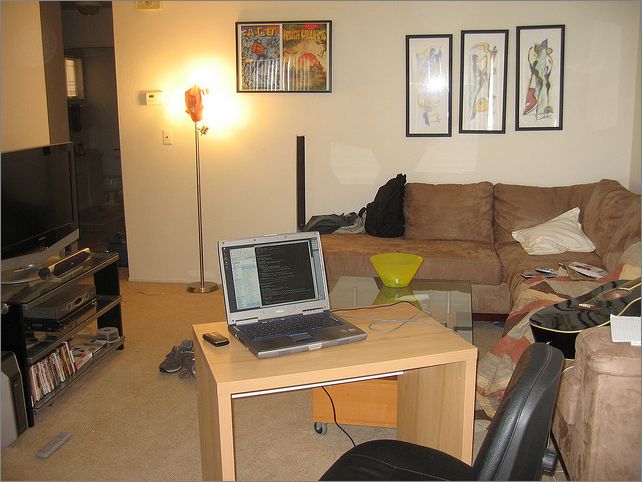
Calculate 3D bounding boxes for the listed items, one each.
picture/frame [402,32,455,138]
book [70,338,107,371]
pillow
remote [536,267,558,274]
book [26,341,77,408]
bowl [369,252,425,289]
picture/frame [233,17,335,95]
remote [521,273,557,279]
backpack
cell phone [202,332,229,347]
[{"bbox_3d":[0.976,-1.395,4.550,0.433,0.864,0.043,-3,16,-1],"label":"picture/frame"},{"bbox_3d":[-1.588,0.760,3.427,0.163,0.038,0.162,-6,20,3],"label":"book"},{"bbox_3d":[1.865,-0.032,4.019,0.379,0.099,0.402,-22,31,10],"label":"pillow"},{"bbox_3d":[1.593,0.208,3.547,0.176,0.045,0.046,6,10,42],"label":"remote"},{"bbox_3d":[-1.614,0.778,3.020,0.178,0.073,0.239,-1,19,38],"label":"book"},{"bbox_3d":[0.490,0.194,3.246,0.341,0.166,0.355,-2,12,0],"label":"bowl"},{"bbox_3d":[-0.349,-1.690,4.640,0.878,0.621,0.031,1,8,4],"label":"picture/frame"},{"bbox_3d":[1.508,0.242,3.509,0.254,0.036,0.063,-2,10,0],"label":"remote"},{"bbox_3d":[0.569,-0.345,4.685,0.412,0.624,0.473,4,12,6],"label":"backpack"},{"bbox_3d":[-0.416,0.386,1.991,0.132,0.027,0.064,10,19,44],"label":"cell phone"}]
